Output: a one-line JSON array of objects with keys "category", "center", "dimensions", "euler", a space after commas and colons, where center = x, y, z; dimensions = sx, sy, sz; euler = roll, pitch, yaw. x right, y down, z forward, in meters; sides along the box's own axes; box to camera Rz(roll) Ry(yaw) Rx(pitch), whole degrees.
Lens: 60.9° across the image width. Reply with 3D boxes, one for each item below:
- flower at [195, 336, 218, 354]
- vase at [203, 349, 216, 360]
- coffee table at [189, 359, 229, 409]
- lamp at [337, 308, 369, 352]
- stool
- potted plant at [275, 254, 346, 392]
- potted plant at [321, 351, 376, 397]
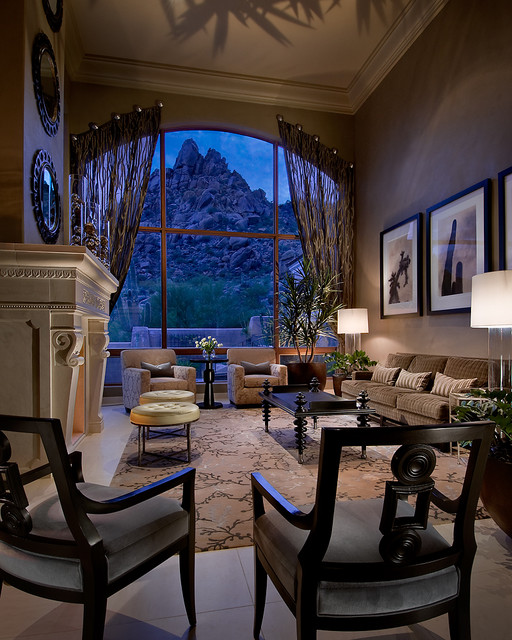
[{"category": "flower", "center": [-0.672, 0.351, 5.927], "dimensions": [0.260, 0.221, 0.296], "euler": [1, -3, 7]}, {"category": "vase", "center": [-0.610, 0.477, 5.856], "dimensions": [0.139, 0.150, 0.142], "euler": [-1, 4, -31]}, {"category": "coffee table", "center": [-0.618, 0.845, 5.769], "dimensions": [0.469, 0.665, 0.458], "euler": [-3, 3, -40]}, {"category": "lamp", "center": [1.376, 0.152, 6.242], "dimensions": [0.400, 0.631, 0.583], "euler": [-1, 1, 11]}, {"category": "stool", "center": [-0.714, 0.775, 3.350], "dimensions": [0.491, 0.402, 0.512], "euler": [0, -1, -41]}, {"category": "potted plant", "center": [0.754, 0.088, 6.420], "dimensions": [0.868, 1.964, 0.779], "euler": [-1, -7, 0]}, {"category": "potted plant", "center": [1.280, 0.761, 6.054], "dimensions": [0.542, 0.599, 0.426], "euler": [5, -2, -23]}]
